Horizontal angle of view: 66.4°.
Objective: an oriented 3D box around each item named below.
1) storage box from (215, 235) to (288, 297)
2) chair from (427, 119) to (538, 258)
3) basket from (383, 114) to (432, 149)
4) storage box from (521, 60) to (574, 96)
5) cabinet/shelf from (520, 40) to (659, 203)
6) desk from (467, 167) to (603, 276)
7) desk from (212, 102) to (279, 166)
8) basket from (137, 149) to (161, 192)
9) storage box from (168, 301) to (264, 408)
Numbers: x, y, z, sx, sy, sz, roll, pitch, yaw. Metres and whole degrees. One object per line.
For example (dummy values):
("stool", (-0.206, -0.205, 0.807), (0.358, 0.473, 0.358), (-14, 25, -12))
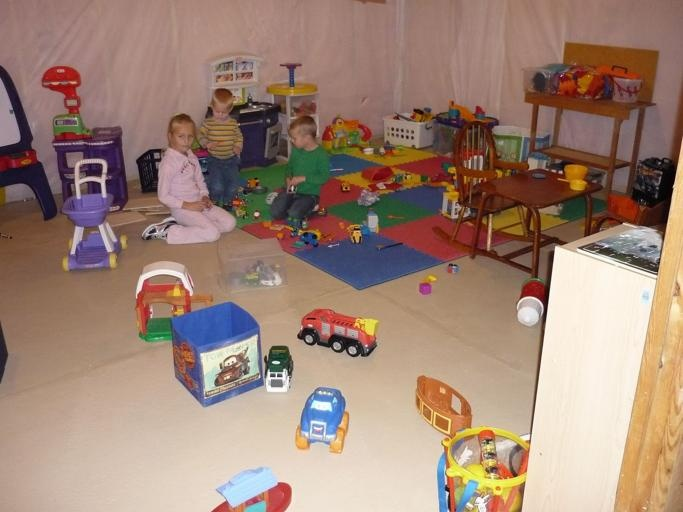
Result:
("storage box", (-0.749, 0.078, 4.283), (0.559, 0.307, 0.580), (-5, 20, 10))
("chair", (1.266, -0.614, 4.553), (0.613, 1.086, 0.718), (-14, 24, -30))
("basket", (0.999, -1.847, 7.676), (0.462, 0.386, 0.682), (-20, 29, -39))
("storage box", (2.358, -2.114, 6.013), (0.437, 0.281, 0.418), (-19, 29, -30))
("cabinet/shelf", (2.719, -1.457, 5.587), (0.645, 1.842, 1.502), (-24, 38, -32))
("desk", (1.569, -0.446, 4.178), (1.057, 0.829, 0.864), (-19, 27, -33))
("desk", (-1.231, -1.575, 6.745), (0.744, 0.726, 0.564), (-18, 35, -40))
("basket", (-2.364, -1.034, 6.200), (0.382, 0.344, 0.542), (-8, 21, -11))
("storage box", (-0.727, 0.538, 3.165), (0.569, 0.555, 0.548), (-17, 30, -31))
